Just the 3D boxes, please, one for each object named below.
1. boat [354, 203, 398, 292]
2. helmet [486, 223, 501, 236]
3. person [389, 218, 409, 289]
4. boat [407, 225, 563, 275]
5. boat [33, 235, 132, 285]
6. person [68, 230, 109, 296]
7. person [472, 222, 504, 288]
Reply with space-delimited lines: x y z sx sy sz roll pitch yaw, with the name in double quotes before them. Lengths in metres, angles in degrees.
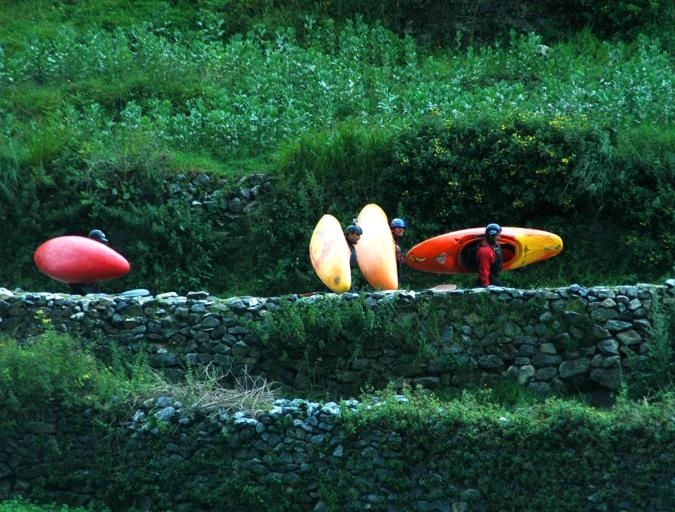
"boat" 0.737 -0.165 20.189 0.816 1.547 0.480 2 -25 -37
"helmet" 3.055 -0.554 20.082 0.241 0.261 0.209 10 21 3
"person" 1.238 -0.035 20.957 0.489 1.574 0.573 -1 45 12
"boat" 2.937 -0.113 20.778 3.531 1.196 0.946 -4 12 -2
"boat" -5.188 0.078 20.595 1.841 1.043 0.906 5 3 -1
"person" -5.007 0.160 20.475 0.551 0.404 1.167 20 -21 -10
"person" 2.976 -0.013 20.257 0.344 1.251 0.690 -4 36 4
